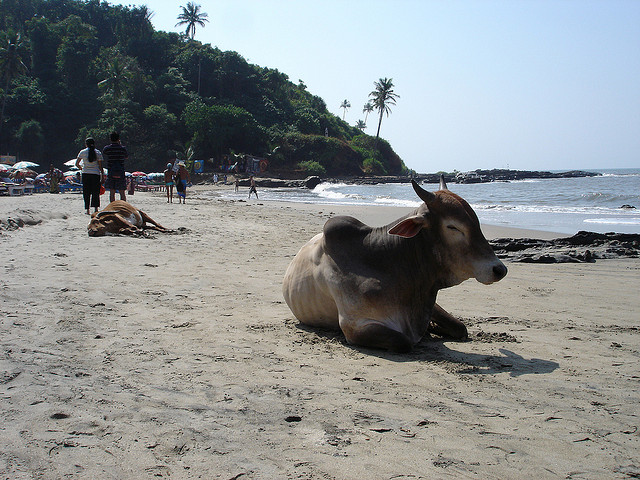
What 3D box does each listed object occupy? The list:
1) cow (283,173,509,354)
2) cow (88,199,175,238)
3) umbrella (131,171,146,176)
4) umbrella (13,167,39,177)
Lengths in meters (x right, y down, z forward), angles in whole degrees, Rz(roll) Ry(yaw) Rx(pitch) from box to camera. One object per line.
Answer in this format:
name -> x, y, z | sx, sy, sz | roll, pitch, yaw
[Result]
cow -> 0.639, 0.336, 6.959 | 1.295, 1.570, 2.973 | -5, 2, -40
cow -> -3.789, -0.381, 12.593 | 1.153, 0.611, 1.762 | 5, 10, 13
umbrella -> -12.063, -4.435, 42.779 | 0.733, 0.280, 0.727 | 1, 0, 6
umbrella -> -15.093, -3.528, 33.468 | 1.352, 0.420, 1.204 | -5, 4, -42
